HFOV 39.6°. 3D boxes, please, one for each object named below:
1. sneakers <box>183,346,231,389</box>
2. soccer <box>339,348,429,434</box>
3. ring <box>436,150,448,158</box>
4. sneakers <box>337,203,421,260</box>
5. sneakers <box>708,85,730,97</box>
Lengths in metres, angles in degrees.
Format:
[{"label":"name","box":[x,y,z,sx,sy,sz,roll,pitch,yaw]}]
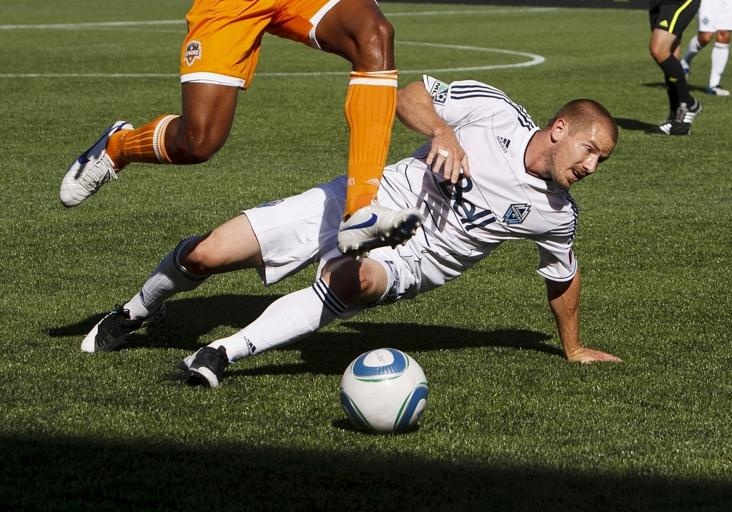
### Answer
[{"label":"sneakers","box":[-0.880,0.614,5.651,0.167,0.131,0.352,-13,9,-12]},{"label":"soccer","box":[0.092,0.696,5.387,0.422,0.365,0.422,-2,-6,3]},{"label":"ring","box":[0.436,-0.575,5.691,0.062,0.034,0.035,3,26,7]},{"label":"sneakers","box":[0.070,-0.147,5.329,0.435,0.269,0.218,4,26,9]},{"label":"sneakers","box":[4.880,-2.292,14.119,0.168,0.129,0.296,6,-1,-32]}]
